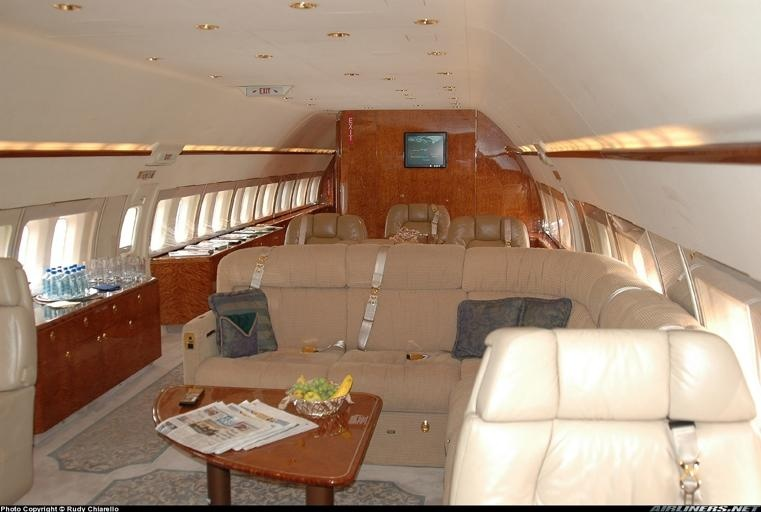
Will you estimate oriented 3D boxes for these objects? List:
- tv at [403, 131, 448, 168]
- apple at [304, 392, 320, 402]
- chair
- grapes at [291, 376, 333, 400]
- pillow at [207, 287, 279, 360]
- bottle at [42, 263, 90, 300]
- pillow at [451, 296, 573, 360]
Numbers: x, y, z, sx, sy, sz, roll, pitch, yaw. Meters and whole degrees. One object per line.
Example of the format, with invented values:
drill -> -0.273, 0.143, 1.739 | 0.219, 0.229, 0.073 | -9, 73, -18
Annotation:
tv -> 1.028, -2.392, 11.281 | 0.996, 0.670, 0.090 | 1, -2, 5
apple -> -0.498, 1.021, 3.652 | 0.073, 0.089, 0.069 | -32, 19, 1
chair -> 0.517, -0.628, 9.715 | 4.176, 0.833, 1.683 | 2, 3, -4
grapes -> -0.527, 0.983, 3.770 | 0.239, 0.085, 0.222 | -1, 7, -18
pillow -> -1.443, 0.716, 5.310 | 0.763, 0.644, 0.216 | -11, -3, -38
bottle -> -3.617, 0.311, 5.793 | 0.466, 0.346, 0.229 | 0, 6, -15
pillow -> 1.239, 0.639, 5.116 | 1.432, 0.686, 0.319 | -3, -7, 23
